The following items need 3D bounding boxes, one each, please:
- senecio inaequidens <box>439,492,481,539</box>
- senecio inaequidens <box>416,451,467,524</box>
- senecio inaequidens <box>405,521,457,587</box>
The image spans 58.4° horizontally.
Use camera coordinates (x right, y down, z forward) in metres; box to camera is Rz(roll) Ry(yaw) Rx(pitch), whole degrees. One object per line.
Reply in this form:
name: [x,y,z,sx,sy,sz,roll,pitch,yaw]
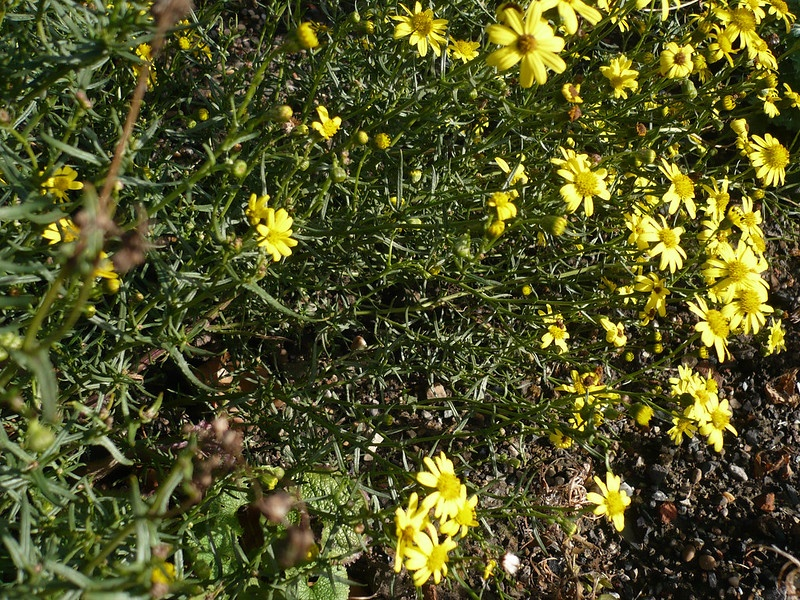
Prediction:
senecio inaequidens: [0.217,0.684,2.243,0.041,0.133,0.133,35,27,-30]
senecio inaequidens: [0.132,0.580,2.200,0.189,0.060,0.189,48,64,-21]
senecio inaequidens: [0.086,0.770,2.149,0.179,0.057,0.180,41,63,-27]
